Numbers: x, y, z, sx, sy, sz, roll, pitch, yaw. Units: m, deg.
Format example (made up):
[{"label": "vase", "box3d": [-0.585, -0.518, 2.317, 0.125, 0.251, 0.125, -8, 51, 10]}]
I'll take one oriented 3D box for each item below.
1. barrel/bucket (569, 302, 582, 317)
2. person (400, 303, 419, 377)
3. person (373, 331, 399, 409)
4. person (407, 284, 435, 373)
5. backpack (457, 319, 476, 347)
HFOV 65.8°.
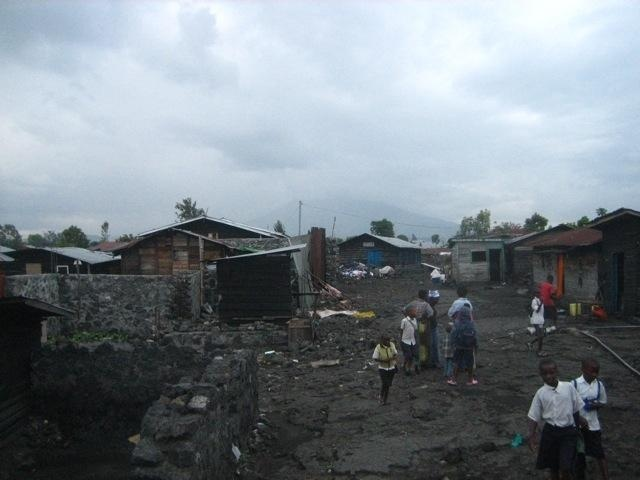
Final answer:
[{"label": "barrel/bucket", "box3d": [9.793, 2.659, 18.819, 0.454, 0.490, 0.464, -2, 1, 0]}, {"label": "person", "box3d": [2.356, 2.620, 12.813, 0.444, 1.864, 0.800, -3, 8, 10]}, {"label": "person", "box3d": [1.615, 2.897, 12.002, 0.519, 1.629, 1.589, -4, 8, 6]}, {"label": "person", "box3d": [2.688, 2.399, 13.258, 0.826, 2.040, 0.649, 3, 6, 19]}, {"label": "backpack", "box3d": [3.571, 2.300, 11.962, 0.471, 0.689, 0.202, -4, 8, 1]}]
